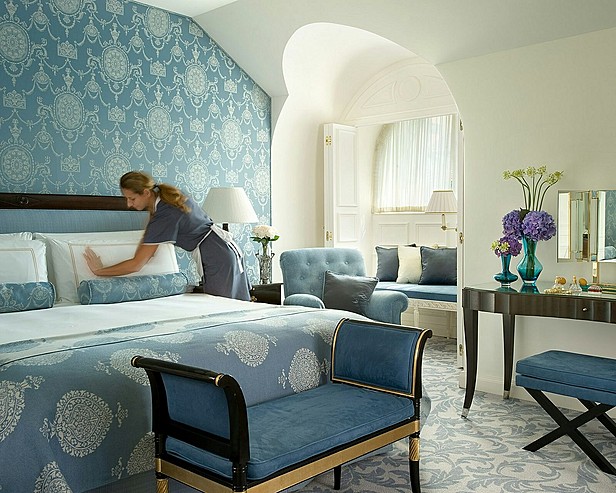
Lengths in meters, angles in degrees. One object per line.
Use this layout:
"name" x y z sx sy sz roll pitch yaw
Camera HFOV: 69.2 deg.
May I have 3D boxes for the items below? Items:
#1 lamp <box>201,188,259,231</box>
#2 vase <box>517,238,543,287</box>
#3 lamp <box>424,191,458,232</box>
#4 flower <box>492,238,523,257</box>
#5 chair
"lamp" -0.763 -0.365 4.385 0.413 0.392 0.399 -4 5 -29
"vase" 1.648 0.112 3.339 0.175 0.354 0.197 0 2 5
"lamp" 1.806 -0.504 6.128 0.534 0.586 0.522 -3 7 -14
"flower" 1.493 -0.007 3.369 0.158 0.071 0.160 -1 23 21
"chair" 0.262 0.305 4.519 0.994 0.972 0.928 0 -1 -27
